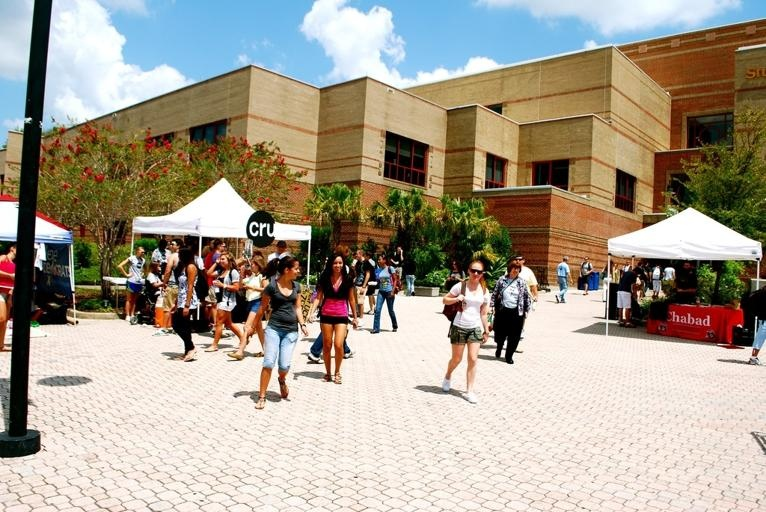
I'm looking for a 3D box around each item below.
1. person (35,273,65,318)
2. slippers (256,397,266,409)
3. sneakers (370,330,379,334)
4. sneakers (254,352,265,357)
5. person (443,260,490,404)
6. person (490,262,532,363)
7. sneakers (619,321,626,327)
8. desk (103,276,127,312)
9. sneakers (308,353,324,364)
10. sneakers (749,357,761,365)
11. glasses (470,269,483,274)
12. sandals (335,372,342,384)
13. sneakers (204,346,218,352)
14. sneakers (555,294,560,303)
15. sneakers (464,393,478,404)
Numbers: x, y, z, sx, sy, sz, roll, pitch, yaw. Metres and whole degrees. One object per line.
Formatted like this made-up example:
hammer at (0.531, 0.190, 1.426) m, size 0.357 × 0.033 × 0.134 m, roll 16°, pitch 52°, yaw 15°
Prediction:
person at (-8.721, 1.049, 14.999) m, size 1.071 × 0.920 × 0.354 m, roll -8°, pitch -7°, yaw 29°
slippers at (-1.904, 2.274, 8.905) m, size 0.158 × 0.166 × 0.236 m, roll 2°, pitch 4°, yaw -11°
sneakers at (-0.222, 2.061, 15.469) m, size 0.227 × 0.097 × 0.083 m, roll 6°, pitch -7°, yaw -24°
sneakers at (-2.627, 2.090, 12.169) m, size 0.190 × 0.137 × 0.354 m, roll -1°, pitch -11°, yaw -2°
person at (1.396, 1.239, 9.782) m, size 0.707 × 2.345 × 0.688 m, roll 3°, pitch 4°, yaw 14°
person at (2.841, 1.228, 12.889) m, size 0.752 × 2.311 × 1.031 m, roll 3°, pitch 4°, yaw 15°
sneakers at (8.067, 2.296, 19.368) m, size 0.155 × 0.102 × 0.151 m, roll 1°, pitch 6°, yaw 14°
desk at (-8.141, 1.171, 17.385) m, size 0.713 × 0.907 × 0.940 m, roll 1°, pitch 1°, yaw -6°
sneakers at (-1.368, 2.096, 11.693) m, size 0.150 × 0.141 × 0.360 m, roll -28°, pitch -35°, yaw 37°
sneakers at (8.654, 2.441, 13.346) m, size 0.382 × 0.167 × 0.128 m, roll -2°, pitch 4°, yaw -31°
glasses at (1.547, 0.263, 9.556) m, size 0.175 × 0.089 × 0.099 m, roll 3°, pitch 4°, yaw 5°
sandals at (-0.796, 2.189, 10.241) m, size 0.075 × 0.212 × 0.058 m, roll -1°, pitch 8°, yaw -4°
sneakers at (-3.716, 2.020, 12.388) m, size 0.271 × 0.117 × 0.126 m, roll 3°, pitch -5°, yaw 5°
sneakers at (8.145, 1.985, 26.575) m, size 0.156 × 0.440 × 0.198 m, roll -16°, pitch 7°, yaw -12°
sneakers at (1.468, 2.347, 9.637) m, size 0.195 × 0.170 × 0.376 m, roll 2°, pitch 4°, yaw -2°
